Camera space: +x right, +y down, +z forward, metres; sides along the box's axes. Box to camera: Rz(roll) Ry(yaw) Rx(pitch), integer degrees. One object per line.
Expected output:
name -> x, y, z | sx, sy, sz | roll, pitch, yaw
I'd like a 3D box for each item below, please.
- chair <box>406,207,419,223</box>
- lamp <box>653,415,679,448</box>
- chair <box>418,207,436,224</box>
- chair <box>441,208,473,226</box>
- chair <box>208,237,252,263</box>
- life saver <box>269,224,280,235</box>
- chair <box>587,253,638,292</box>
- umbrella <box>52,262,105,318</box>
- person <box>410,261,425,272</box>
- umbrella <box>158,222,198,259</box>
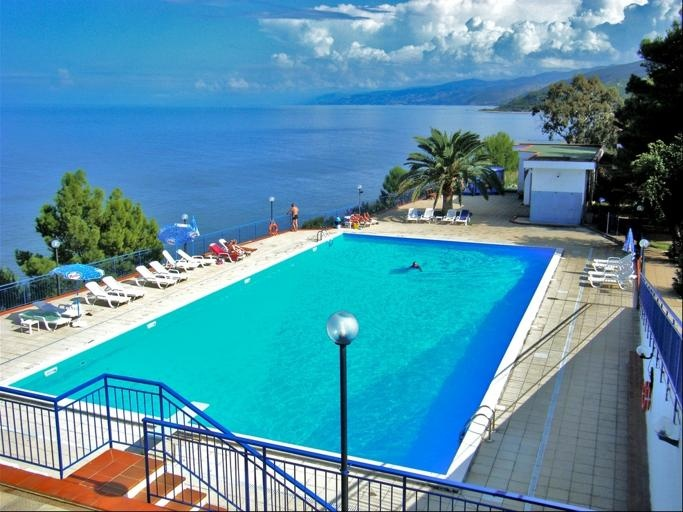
chair -> 4.307, -2.464, 32.357 | 0.390, 0.525, 1.381 | 0, 22, 13
lamp -> 4.879, 2.622, 8.051 | 0.072, 0.322, 0.301 | 15, -1, -26
chair -> 5.189, -2.470, 32.257 | 0.622, 0.650, 1.000 | 1, 10, 23
chair -> 7.004, -2.299, 31.612 | 0.945, 0.656, 1.656 | 4, 10, 27
chair -> -5.176, -0.190, 24.196 | 1.566, 0.541, 1.138 | 0, 23, 8
life saver -> -3.727, -1.455, 29.355 | 0.390, 0.327, 1.074 | 13, 18, -12
chair -> 9.993, 0.511, 19.779 | 1.387, 1.249, 1.214 | -1, 15, 22
umbrella -> -8.897, 1.187, 18.122 | 1.099, 1.276, 1.090 | 16, 22, -4
person -> 3.327, 0.483, 23.914 | 0.396, 0.409, 1.235 | -3, 0, 19
umbrella -> -7.170, -0.863, 23.607 | 1.928, 1.057, 2.269 | -3, -1, -7
